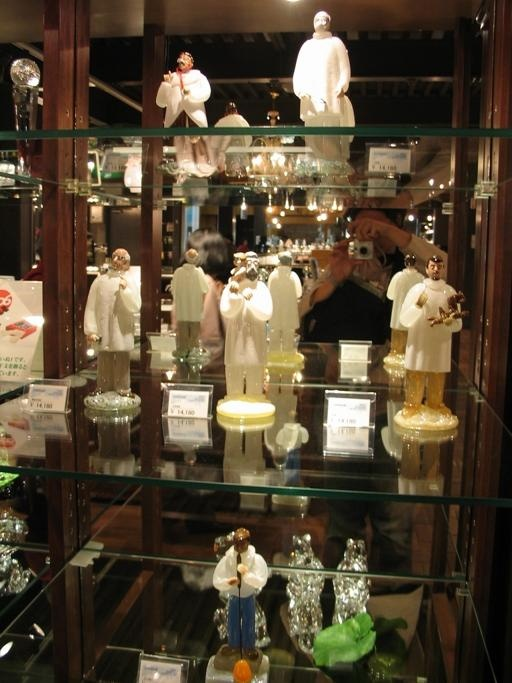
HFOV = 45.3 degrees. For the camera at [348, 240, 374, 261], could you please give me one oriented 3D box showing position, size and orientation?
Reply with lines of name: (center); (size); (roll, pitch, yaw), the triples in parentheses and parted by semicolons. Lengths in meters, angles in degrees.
camera: (0.328, -0.288, 1.932); (0.084, 0.070, 0.052); (1, 5, 4)
